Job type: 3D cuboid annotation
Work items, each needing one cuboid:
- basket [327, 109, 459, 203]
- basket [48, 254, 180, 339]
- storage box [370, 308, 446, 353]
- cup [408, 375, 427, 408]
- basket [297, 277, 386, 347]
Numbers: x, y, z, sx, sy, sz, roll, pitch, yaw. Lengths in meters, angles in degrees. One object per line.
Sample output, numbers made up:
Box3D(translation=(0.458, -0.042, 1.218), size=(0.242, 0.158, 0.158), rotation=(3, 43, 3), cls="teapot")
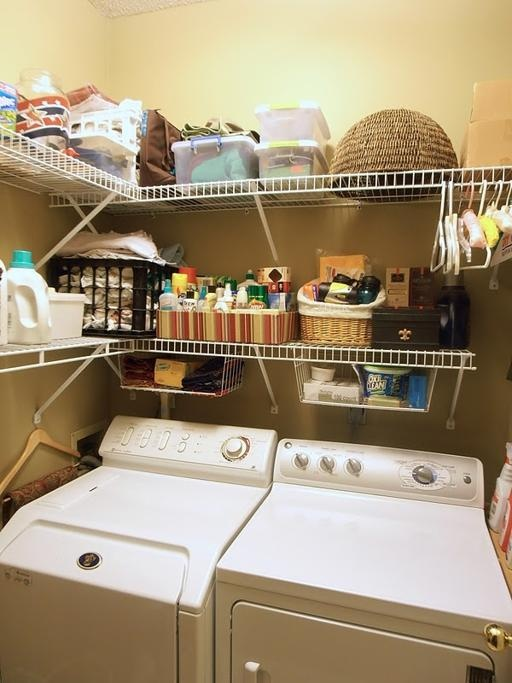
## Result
Box3D(translation=(0.393, -0.535, 1.571), size=(0.347, 0.239, 0.340), rotation=(0, 14, 12), cls="basket")
Box3D(translation=(-0.455, -0.157, 1.734), size=(0.276, 0.177, 0.284), rotation=(2, 4, 8), cls="basket")
Box3D(translation=(0.412, -0.035, 1.490), size=(0.131, 0.085, 0.134), rotation=(1, 0, 16), cls="storage box")
Box3D(translation=(0.473, 0.145, 1.599), size=(0.054, 0.091, 0.067), rotation=(-1, 13, 8), cls="cup")
Box3D(translation=(0.250, -0.092, 1.604), size=(0.220, 0.144, 0.184), rotation=(4, 4, 22), cls="basket")
